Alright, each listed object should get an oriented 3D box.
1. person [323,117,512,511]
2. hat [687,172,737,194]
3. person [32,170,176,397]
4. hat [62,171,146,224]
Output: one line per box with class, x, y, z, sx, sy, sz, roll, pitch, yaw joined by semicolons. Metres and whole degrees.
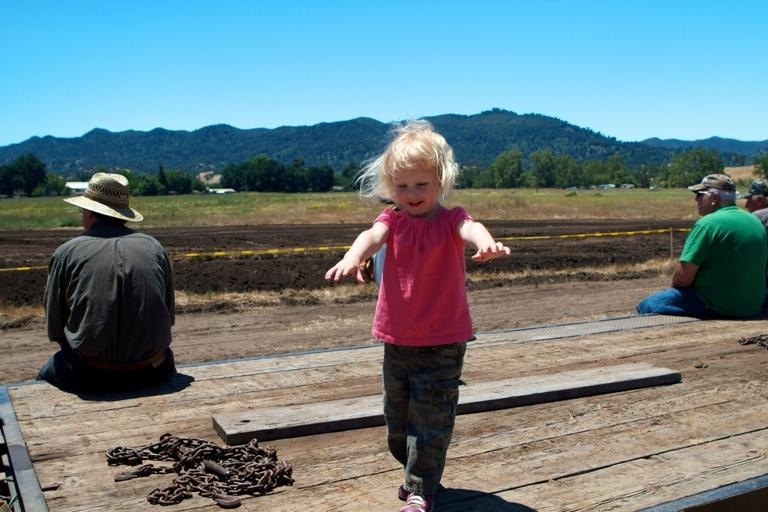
person;0.204;0.312;3.516;0.818;2.186;0.719;8;13;38
hat;3.884;-0.883;7.213;0.482;0.189;0.319;1;2;29
person;-2.227;0.212;4.952;0.975;1.715;0.682;1;10;9
hat;-2.376;-0.490;5.188;0.586;0.287;0.533;6;12;-26
